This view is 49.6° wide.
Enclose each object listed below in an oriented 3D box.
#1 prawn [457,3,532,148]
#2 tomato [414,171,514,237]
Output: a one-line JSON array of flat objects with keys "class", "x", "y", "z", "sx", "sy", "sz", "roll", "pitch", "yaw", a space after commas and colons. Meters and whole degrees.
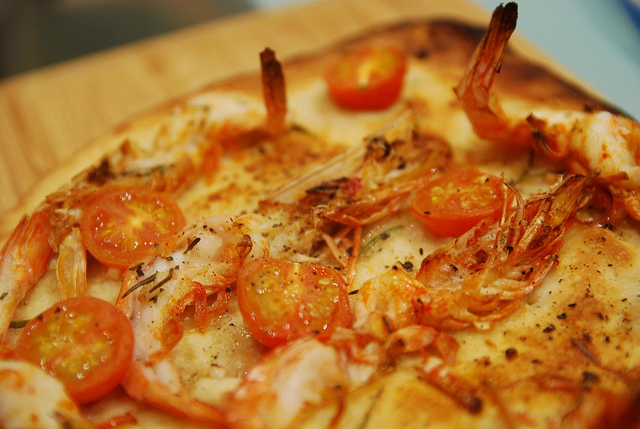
[{"class": "prawn", "x": 1.087, "y": -0.823, "z": 4.343, "sx": 0.348, "sy": 0.879, "sz": 0.382, "roll": -25, "pitch": 54, "yaw": -12}, {"class": "tomato", "x": 0.803, "y": -0.078, "z": 4.021, "sx": 0.393, "sy": 0.181, "sz": 0.428, "roll": -10, "pitch": 36, "yaw": 7}]
